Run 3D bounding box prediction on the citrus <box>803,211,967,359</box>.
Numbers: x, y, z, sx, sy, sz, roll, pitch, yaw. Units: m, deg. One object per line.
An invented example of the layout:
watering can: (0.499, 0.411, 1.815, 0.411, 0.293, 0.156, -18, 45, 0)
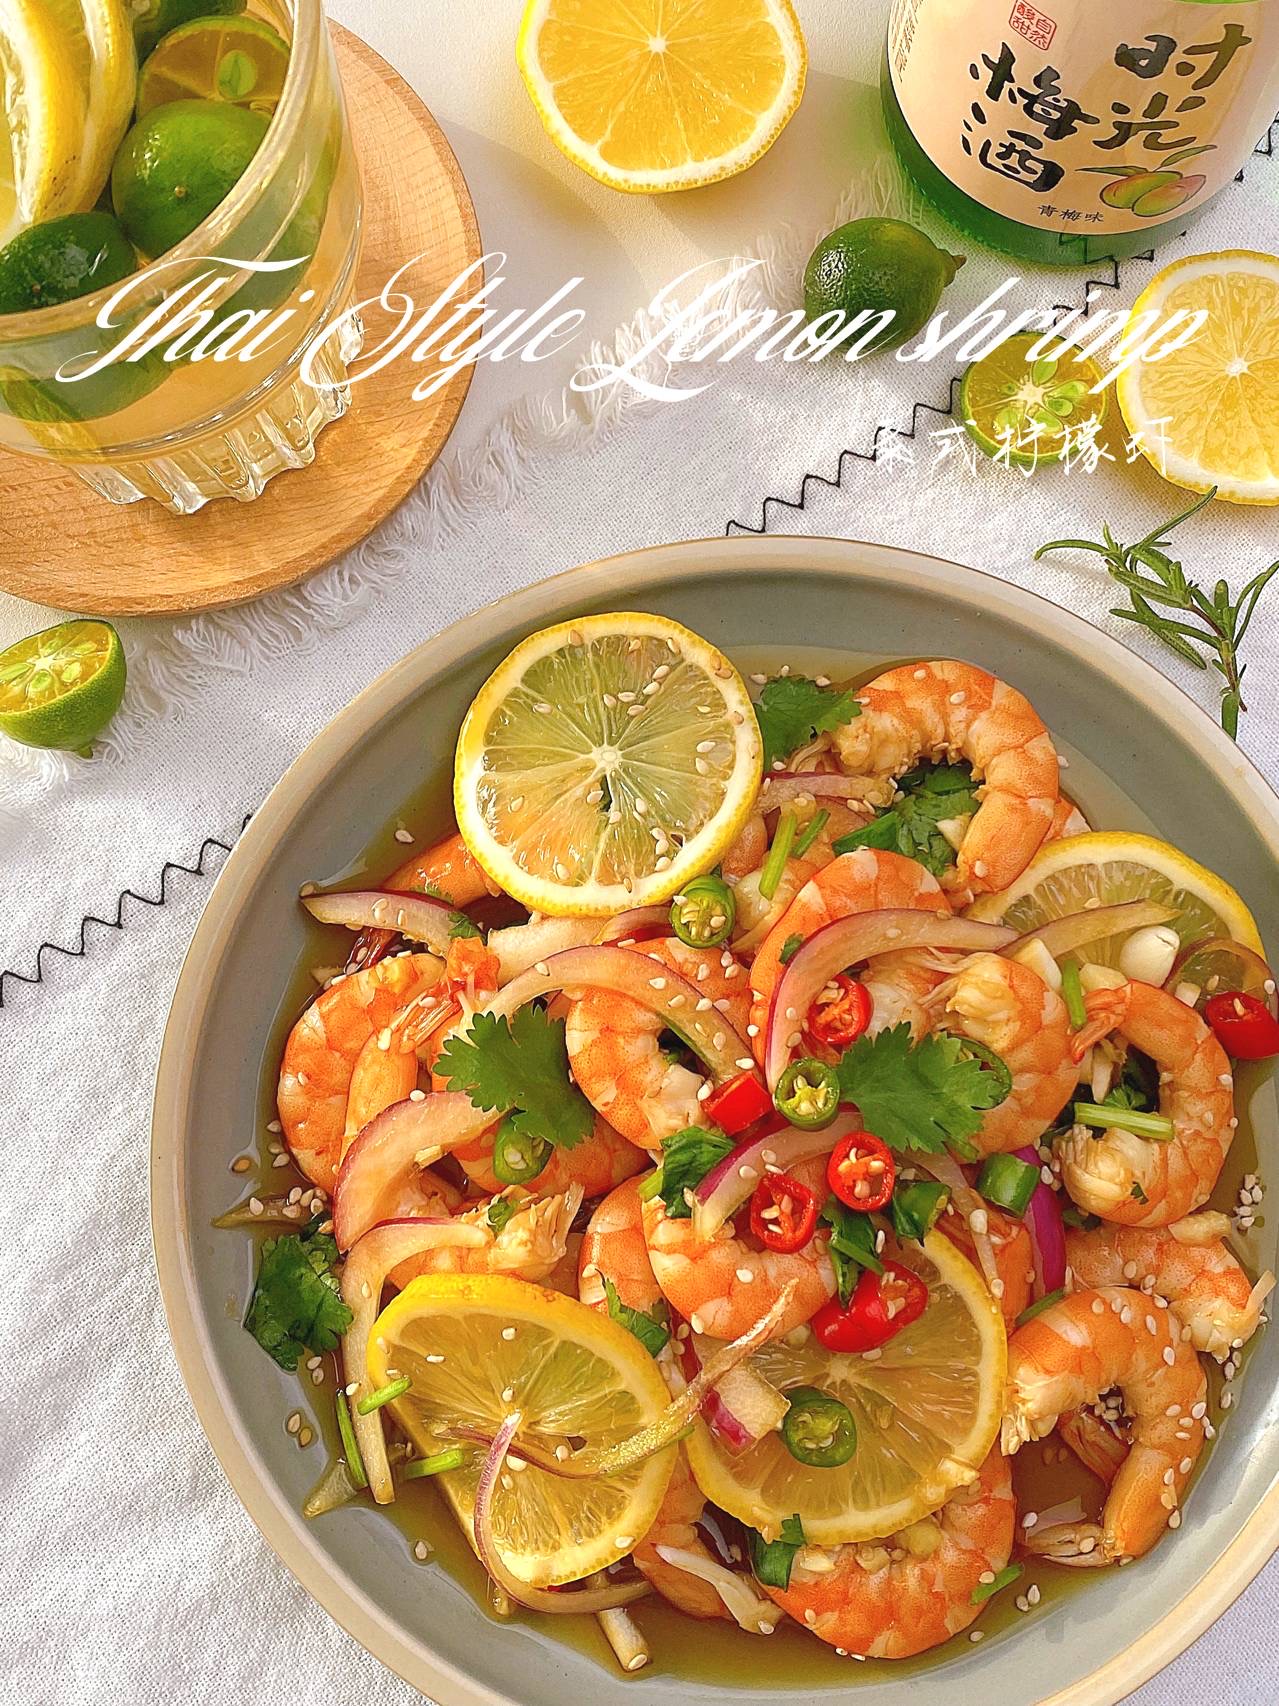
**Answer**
citrus: (0.402, -0.998, 3.020, 0.279, 0.192, 0.195, -29, 91, 6)
